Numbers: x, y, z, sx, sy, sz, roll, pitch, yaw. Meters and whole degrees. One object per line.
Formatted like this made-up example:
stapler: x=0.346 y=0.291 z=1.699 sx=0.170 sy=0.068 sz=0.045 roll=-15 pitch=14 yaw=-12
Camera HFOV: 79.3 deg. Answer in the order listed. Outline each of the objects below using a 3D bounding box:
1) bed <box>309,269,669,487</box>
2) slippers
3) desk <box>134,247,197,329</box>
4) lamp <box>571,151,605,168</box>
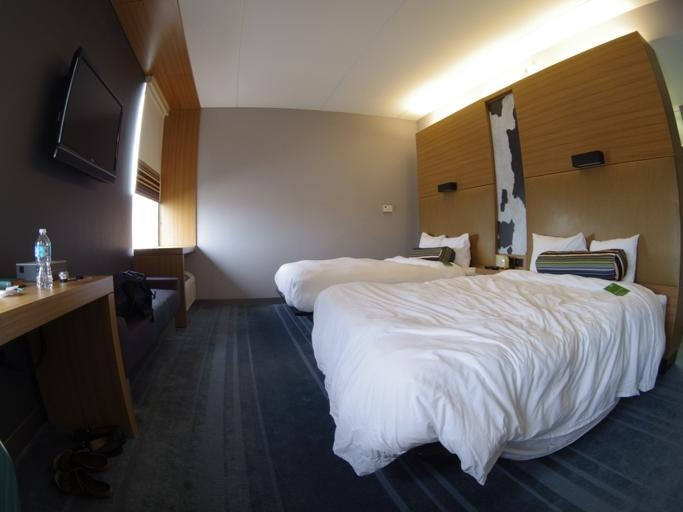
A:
bed: x=0.965 y=0.647 z=2.613 sx=1.711 sy=0.611 sz=1.442 roll=-7 pitch=9 yaw=-19
slippers: x=-1.565 y=1.338 z=2.545 sx=0.334 sy=0.118 sz=0.277 roll=9 pitch=28 yaw=-4
desk: x=-1.852 y=0.328 z=4.293 sx=0.294 sy=0.674 sz=0.837 roll=-1 pitch=4 yaw=-8
lamp: x=2.381 y=-0.940 z=3.985 sx=0.138 sy=0.179 sz=0.274 roll=-9 pitch=16 yaw=-29
